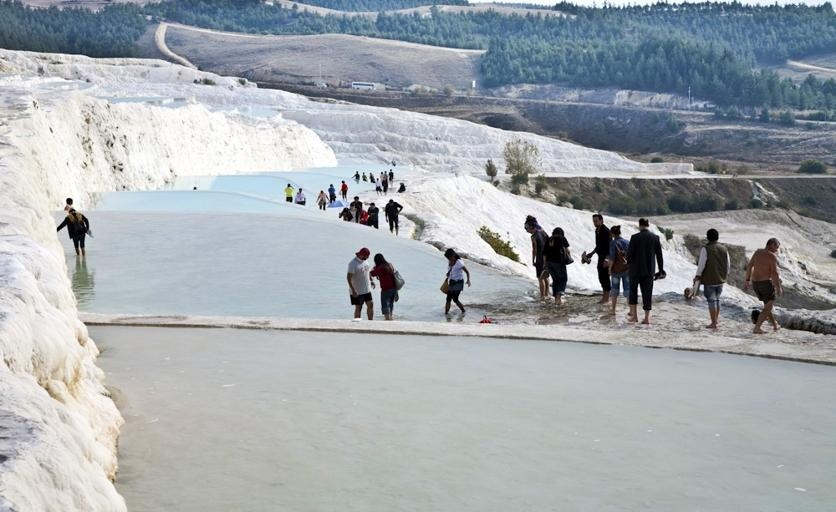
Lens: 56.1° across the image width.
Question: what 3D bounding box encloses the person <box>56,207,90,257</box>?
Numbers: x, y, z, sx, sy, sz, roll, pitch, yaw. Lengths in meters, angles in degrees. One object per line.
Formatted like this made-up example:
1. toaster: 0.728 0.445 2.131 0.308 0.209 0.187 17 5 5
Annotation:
1. person: -7.458 -0.552 17.247 0.459 1.136 1.123 -6 14 -23

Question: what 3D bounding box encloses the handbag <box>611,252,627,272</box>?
1. handbag: 3.439 0.087 13.397 0.351 0.346 0.172 -2 -2 43

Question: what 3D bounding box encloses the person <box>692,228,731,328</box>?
1. person: 4.744 0.341 12.695 0.473 1.682 1.423 5 14 21

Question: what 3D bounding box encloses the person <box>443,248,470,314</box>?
1. person: 0.712 0.421 14.358 0.413 1.246 0.922 0 13 3

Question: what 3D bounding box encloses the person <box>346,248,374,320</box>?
1. person: -0.975 0.518 13.417 0.428 1.479 1.192 -1 13 -4

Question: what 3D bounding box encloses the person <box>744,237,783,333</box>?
1. person: 5.426 0.469 12.313 0.542 1.537 1.482 6 14 24
